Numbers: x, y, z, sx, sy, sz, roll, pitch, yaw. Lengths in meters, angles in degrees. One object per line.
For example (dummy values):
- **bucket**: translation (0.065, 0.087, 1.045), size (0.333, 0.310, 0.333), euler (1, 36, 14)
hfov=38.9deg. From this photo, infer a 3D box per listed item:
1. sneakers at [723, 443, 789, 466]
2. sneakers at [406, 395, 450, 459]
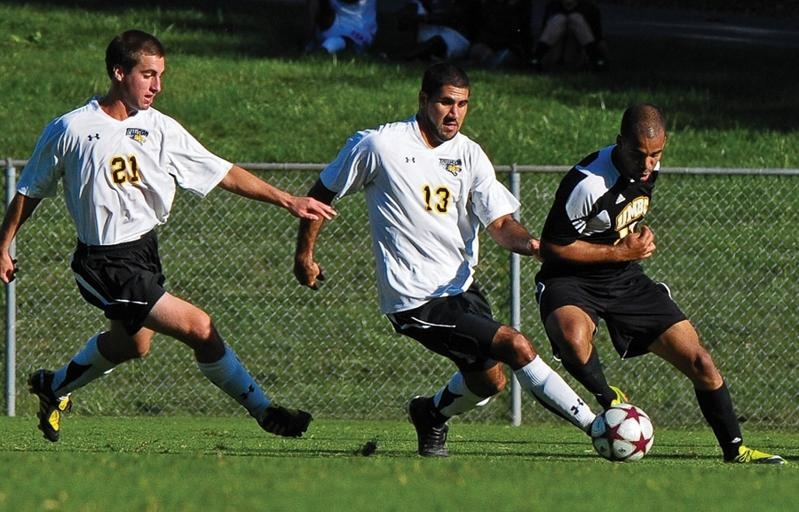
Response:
- **sneakers**: translation (3.295, 1.828, 10.511), size (0.600, 0.239, 0.198), euler (-3, -3, 11)
- **sneakers**: translation (0.248, 1.625, 10.650), size (0.297, 0.667, 0.240), euler (-12, 1, 42)
